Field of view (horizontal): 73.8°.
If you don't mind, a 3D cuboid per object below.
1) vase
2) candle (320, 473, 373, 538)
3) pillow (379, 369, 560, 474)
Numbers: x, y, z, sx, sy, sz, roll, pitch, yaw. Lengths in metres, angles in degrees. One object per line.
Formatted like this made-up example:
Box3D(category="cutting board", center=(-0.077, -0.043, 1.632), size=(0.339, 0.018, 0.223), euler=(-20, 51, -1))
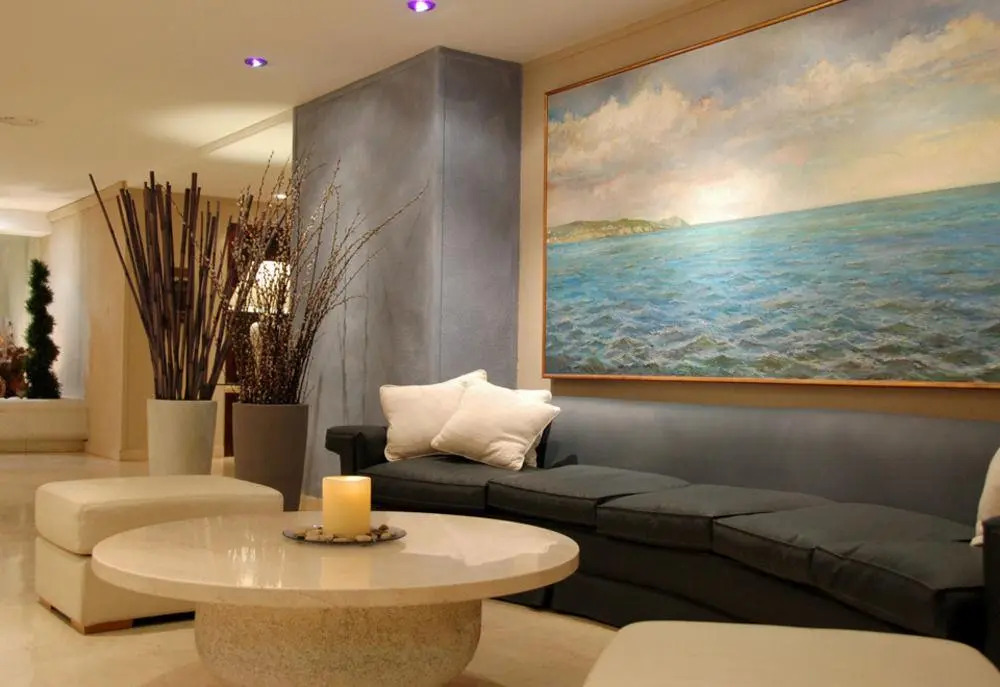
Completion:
Box3D(category="vase", center=(-1.610, 0.647, 3.976), size=(0.951, 0.533, 0.360), euler=(4, -7, -18))
Box3D(category="candle", center=(-0.454, 0.475, 2.016), size=(0.189, 0.189, 0.179), euler=(0, -1, -14))
Box3D(category="pillow", center=(-0.232, 0.439, 3.744), size=(0.697, 0.216, 0.600), euler=(1, 36, 23))
